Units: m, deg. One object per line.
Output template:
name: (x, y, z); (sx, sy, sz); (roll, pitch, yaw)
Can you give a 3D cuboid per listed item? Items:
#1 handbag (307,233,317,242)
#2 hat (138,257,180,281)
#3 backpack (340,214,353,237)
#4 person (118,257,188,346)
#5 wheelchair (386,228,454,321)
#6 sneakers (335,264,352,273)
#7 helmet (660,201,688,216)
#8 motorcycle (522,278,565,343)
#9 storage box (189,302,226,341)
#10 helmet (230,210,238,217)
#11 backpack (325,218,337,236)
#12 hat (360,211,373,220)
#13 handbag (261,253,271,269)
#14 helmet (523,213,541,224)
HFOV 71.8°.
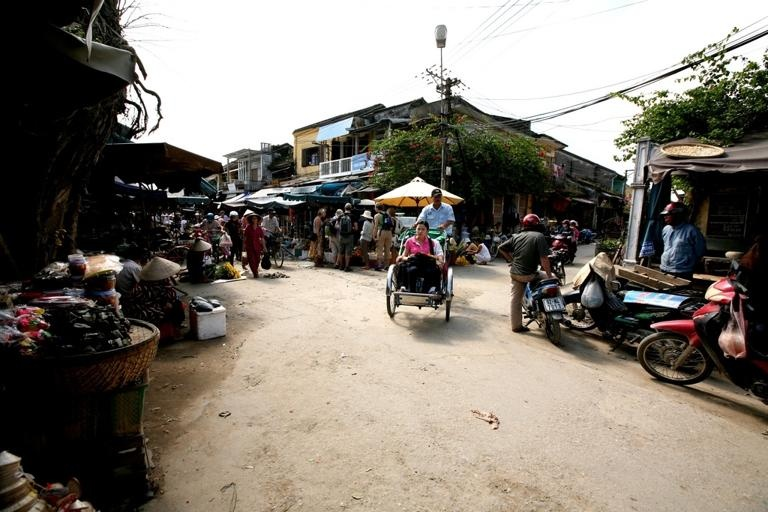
handbag: (-2.235, -0.574, 16.170); (0.309, 0.069, 0.289); (7, -23, 0)
hat: (-3.409, 0.118, 7.825); (0.425, 0.181, 0.431); (10, 22, 36)
backpack: (-1.052, -0.821, 14.209); (0.373, 0.592, 0.225); (1, 10, -6)
person: (-3.482, 0.598, 8.025); (0.981, 1.230, 0.865); (16, 24, 7)
wheelchair: (0.651, 0.164, 9.275); (1.118, 1.518, 1.867); (4, 15, 9)
sneakers: (-1.183, 0.330, 14.750); (0.556, 0.227, 0.187); (3, 8, 17)
helmet: (4.847, -0.799, 8.902); (0.327, 0.158, 0.234); (4, 9, 24)
motorcycle: (2.603, 0.819, 8.535); (0.488, 0.985, 0.966); (0, 9, -12)
storage box: (-2.696, 1.005, 8.155); (0.488, 0.419, 0.503); (0, 1, 42)
helmet: (-4.655, -1.283, 16.232); (0.381, 0.182, 0.518); (-1, 1, -13)
backpack: (-1.507, -0.815, 14.921); (0.363, 0.467, 0.458); (0, -2, -4)
hat: (-0.488, -1.168, 15.001); (0.300, 0.124, 0.337); (6, 7, 22)
handbag: (-3.003, 0.116, 13.355); (0.176, 0.373, 0.240); (-2, 10, -23)
helmet: (2.415, -0.604, 8.679); (0.284, 0.210, 0.202); (-1, 13, 15)
